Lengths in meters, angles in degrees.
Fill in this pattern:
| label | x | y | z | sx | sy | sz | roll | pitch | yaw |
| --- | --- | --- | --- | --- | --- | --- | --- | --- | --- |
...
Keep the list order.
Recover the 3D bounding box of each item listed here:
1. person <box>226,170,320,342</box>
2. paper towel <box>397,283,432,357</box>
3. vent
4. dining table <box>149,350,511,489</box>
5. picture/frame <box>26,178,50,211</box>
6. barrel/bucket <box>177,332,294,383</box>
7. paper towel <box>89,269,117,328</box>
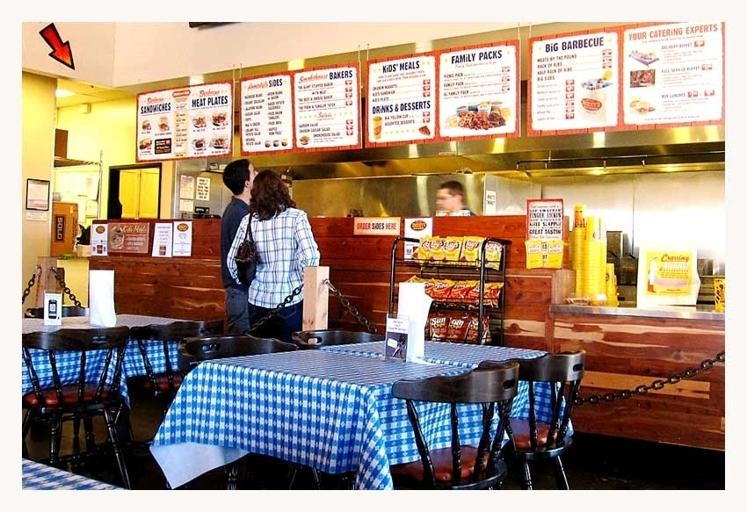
| label | x | y | z | sx | sy | sz | roll | pitch | yaw |
| --- | --- | --- | --- | --- | --- | --- | --- | --- | --- |
| person | -0.752 | 0.002 | 4.110 | 0.349 | 1.275 | 0.743 | -3 | 4 | -44 |
| paper towel | 0.213 | 0.334 | 2.907 | 0.170 | 0.400 | 0.207 | 0 | 3 | 3 |
| vent | 1.499 | -1.277 | 7.315 | 5.458 | 0.412 | 1.260 | 1 | 3 | 23 |
| dining table | -0.220 | 0.872 | 2.773 | 1.230 | 0.515 | 1.343 | -3 | -13 | 32 |
| picture/frame | -4.571 | -0.836 | 7.527 | 0.104 | 0.446 | 0.307 | 2 | 4 | 38 |
| barrel/bucket | -0.807 | 0.525 | 3.129 | 0.398 | 0.424 | 0.332 | 7 | -22 | -28 |
| paper towel | -1.819 | 0.290 | 3.725 | 0.239 | 0.385 | 0.032 | 0 | -1 | 20 |
